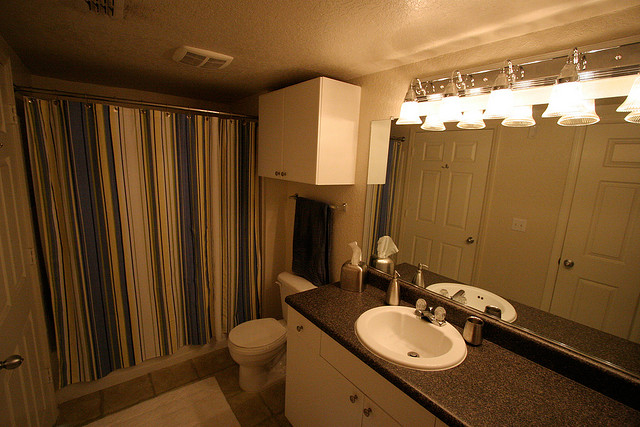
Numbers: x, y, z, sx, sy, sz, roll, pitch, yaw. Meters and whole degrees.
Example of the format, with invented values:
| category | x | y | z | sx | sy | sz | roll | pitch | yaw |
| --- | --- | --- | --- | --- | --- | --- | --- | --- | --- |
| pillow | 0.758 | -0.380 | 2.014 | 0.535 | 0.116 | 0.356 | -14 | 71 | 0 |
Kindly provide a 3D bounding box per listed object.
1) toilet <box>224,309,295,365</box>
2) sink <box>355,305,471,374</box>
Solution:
| category | x | y | z | sx | sy | sz | roll | pitch | yaw |
| --- | --- | --- | --- | --- | --- | --- | --- | --- | --- |
| toilet | -0.448 | 1.009 | 3.581 | 0.580 | 0.274 | 0.472 | -14 | 23 | -41 |
| sink | 0.564 | 0.779 | 2.704 | 0.633 | 0.291 | 0.568 | -6 | 11 | -18 |
